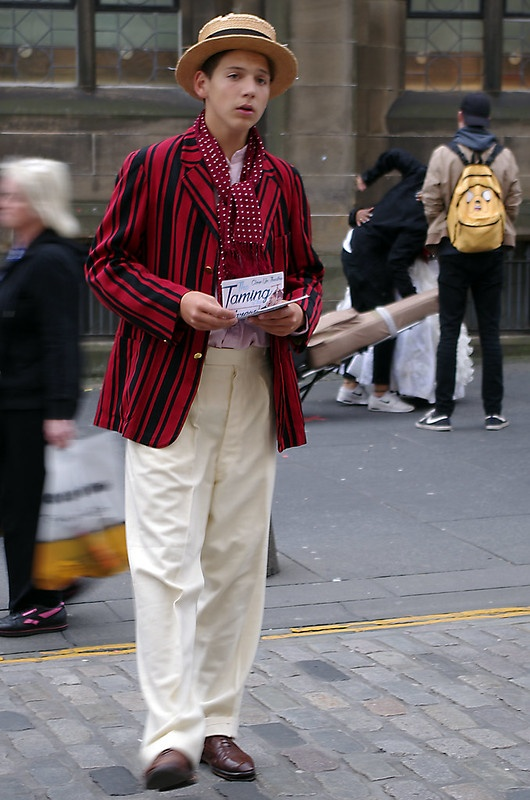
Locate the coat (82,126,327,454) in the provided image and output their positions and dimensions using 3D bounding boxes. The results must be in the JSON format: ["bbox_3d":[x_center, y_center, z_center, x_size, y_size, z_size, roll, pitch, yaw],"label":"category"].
[{"bbox_3d":[-0.133,-0.263,2.420,0.595,0.798,0.398,-1,6,-8],"label":"coat"}]

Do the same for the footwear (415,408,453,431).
[{"bbox_3d":[1.302,0.165,7.579,0.133,0.109,0.291,0,4,-33],"label":"footwear"}]

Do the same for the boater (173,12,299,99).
[{"bbox_3d":[-0.055,-0.864,2.416,0.315,0.078,0.235,5,-28,-17],"label":"boater"}]

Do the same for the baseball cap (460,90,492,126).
[{"bbox_3d":[1.530,-2.117,7.231,0.203,0.285,0.269,1,6,11],"label":"baseball cap"}]

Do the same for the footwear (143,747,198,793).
[{"bbox_3d":[-0.211,0.787,2.103,0.062,0.051,0.125,-1,1,-2],"label":"footwear"}]

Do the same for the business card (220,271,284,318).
[{"bbox_3d":[-0.020,-0.237,2.242,0.062,0.105,0.252,3,6,25],"label":"business card"}]

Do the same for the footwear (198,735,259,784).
[{"bbox_3d":[-0.098,0.902,2.497,0.068,0.065,0.178,-2,3,-42],"label":"footwear"}]
